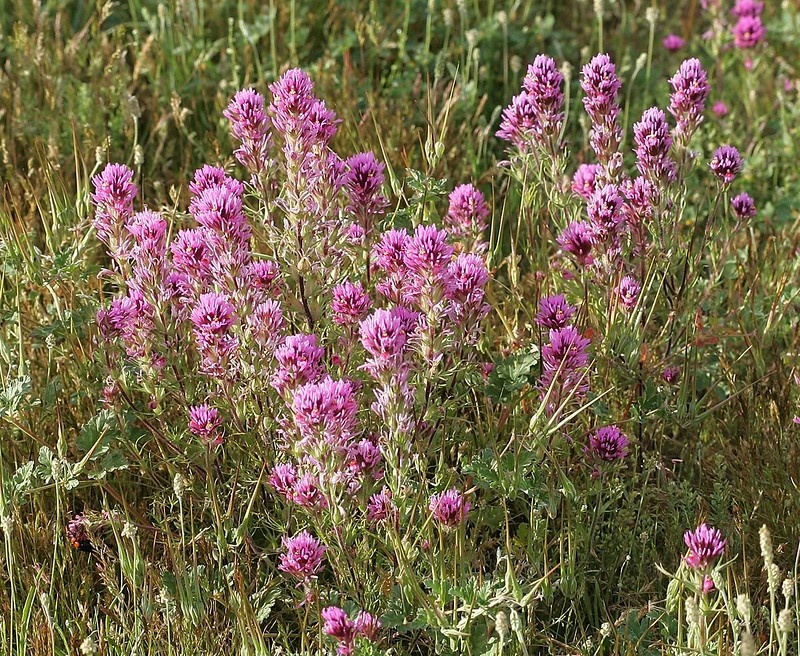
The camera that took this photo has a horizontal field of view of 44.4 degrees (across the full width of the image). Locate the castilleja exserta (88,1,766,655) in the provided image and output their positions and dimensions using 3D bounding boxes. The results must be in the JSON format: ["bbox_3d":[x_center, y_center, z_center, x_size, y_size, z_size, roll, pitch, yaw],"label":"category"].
[{"bbox_3d":[0.105,0.062,3.635,1.790,1.965,2.116,-2,17,-1],"label":"castilleja exserta"}]
